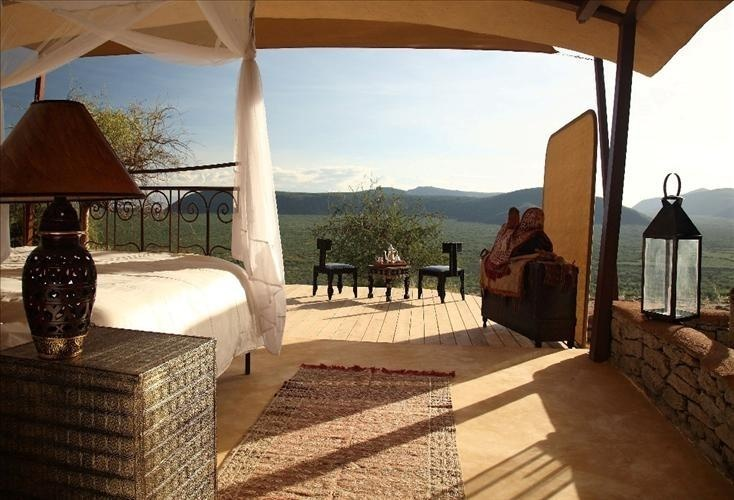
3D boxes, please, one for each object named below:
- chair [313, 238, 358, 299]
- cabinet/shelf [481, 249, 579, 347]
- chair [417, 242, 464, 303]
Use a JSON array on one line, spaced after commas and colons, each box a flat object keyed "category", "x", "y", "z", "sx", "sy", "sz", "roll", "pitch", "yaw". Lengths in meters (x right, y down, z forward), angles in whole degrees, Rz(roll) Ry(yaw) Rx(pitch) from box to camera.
[{"category": "chair", "x": -0.556, "y": 0.326, "z": 7.871, "sx": 0.648, "sy": 1.031, "sz": 0.652, "roll": 1, "pitch": 3, "yaw": -31}, {"category": "cabinet/shelf", "x": 1.879, "y": 0.411, "z": 5.726, "sx": 0.666, "sy": 1.101, "sz": 1.823, "roll": 1, "pitch": 11, "yaw": -18}, {"category": "chair", "x": 1.334, "y": 0.381, "z": 7.831, "sx": 0.679, "sy": 0.966, "sz": 0.666, "roll": -2, "pitch": -1, "yaw": 44}]
